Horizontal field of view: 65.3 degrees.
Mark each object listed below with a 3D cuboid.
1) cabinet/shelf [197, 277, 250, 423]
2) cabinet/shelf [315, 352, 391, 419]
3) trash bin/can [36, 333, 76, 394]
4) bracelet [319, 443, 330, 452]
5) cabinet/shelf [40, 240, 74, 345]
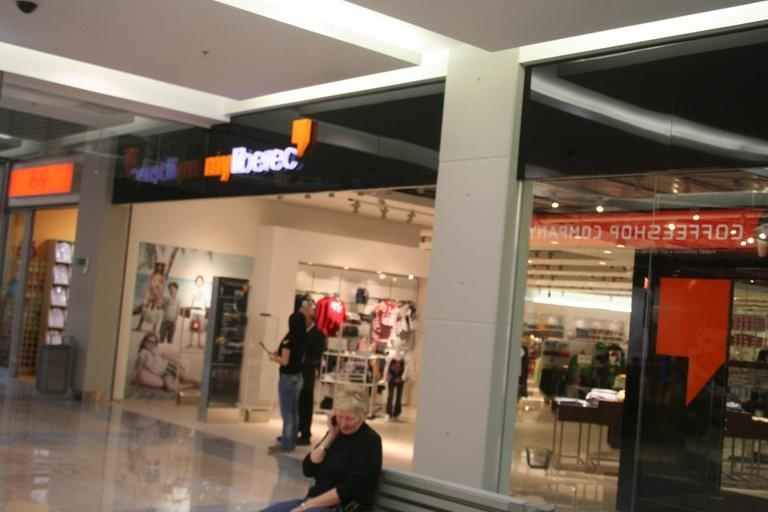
[{"bbox_3d":[-2.829,1.604,10.691,0.664,2.444,0.563,7,-6,-16],"label":"cabinet/shelf"},{"bbox_3d":[-0.812,2.537,12.089,1.033,0.995,0.795,20,-23,-40],"label":"cabinet/shelf"},{"bbox_3d":[-6.219,2.060,11.418,0.641,0.750,0.396,7,-5,-16],"label":"trash bin/can"},{"bbox_3d":[-0.474,1.520,4.775,0.081,0.018,0.077,2,1,40],"label":"bracelet"},{"bbox_3d":[-7.468,0.777,13.605,0.561,1.640,0.667,9,-6,-30],"label":"cabinet/shelf"}]
